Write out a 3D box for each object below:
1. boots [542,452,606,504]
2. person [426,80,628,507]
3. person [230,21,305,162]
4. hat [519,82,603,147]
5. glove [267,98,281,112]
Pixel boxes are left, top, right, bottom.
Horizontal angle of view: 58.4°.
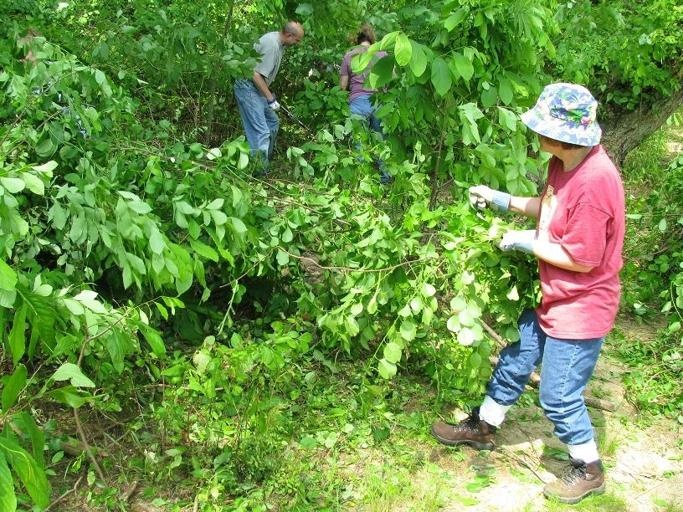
[{"bbox_3d":[1.453,1.379,3.846,0.427,0.269,0.193,-6,5,-7],"label":"boots"},{"bbox_3d":[1.306,0.243,3.769,0.935,2.428,1.084,10,29,26],"label":"person"},{"bbox_3d":[-0.851,-1.904,6.845,0.834,1.969,0.786,-3,64,-12],"label":"person"},{"bbox_3d":[1.257,-0.813,3.526,0.381,0.209,0.377,1,36,0],"label":"hat"},{"bbox_3d":[-0.780,-1.768,7.095,0.116,0.119,0.103,-1,21,-22],"label":"glove"}]
